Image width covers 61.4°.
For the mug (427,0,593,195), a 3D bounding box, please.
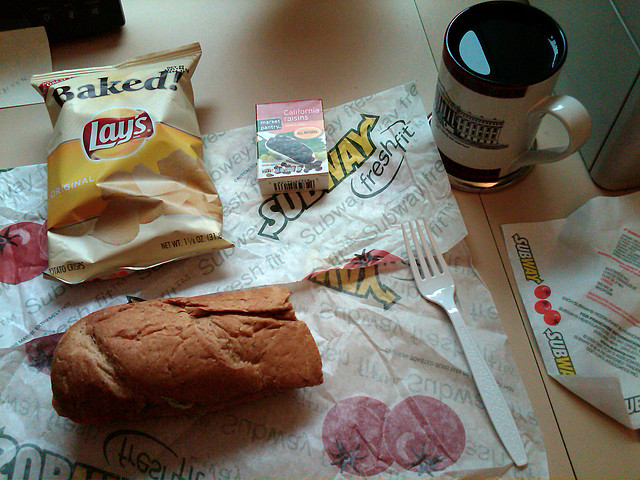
[{"bbox_3d":[0.347,-0.249,1.016,0.272,0.295,0.197,11,52,9],"label":"mug"}]
